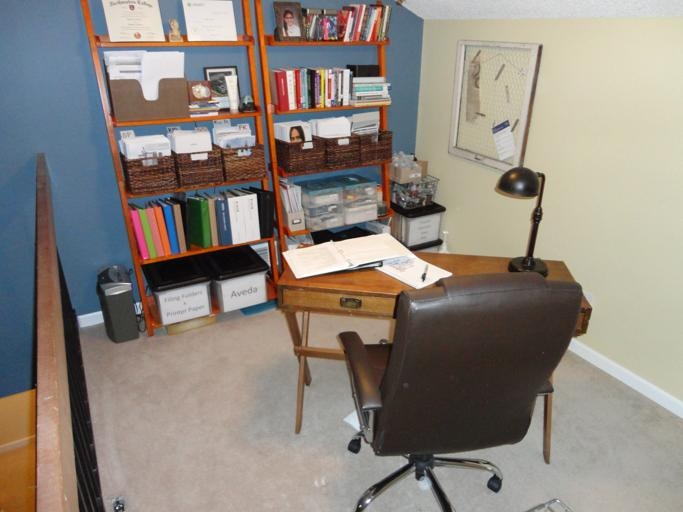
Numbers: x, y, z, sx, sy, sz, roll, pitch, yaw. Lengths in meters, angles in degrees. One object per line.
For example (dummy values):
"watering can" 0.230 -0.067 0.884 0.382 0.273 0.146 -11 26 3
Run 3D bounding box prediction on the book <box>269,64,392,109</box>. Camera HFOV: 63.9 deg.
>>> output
"book" -0.066 -1.337 4.361 0.963 0.300 0.153 -10 26 -20

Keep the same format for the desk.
"desk" 0.517 0.612 3.438 1.707 1.100 0.804 3 18 13

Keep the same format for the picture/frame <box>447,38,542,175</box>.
"picture/frame" 1.203 -1.212 4.428 0.135 0.969 0.800 -16 28 -29

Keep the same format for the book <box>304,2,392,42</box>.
"book" 0.031 -1.825 4.325 0.728 0.268 0.159 -12 26 -24

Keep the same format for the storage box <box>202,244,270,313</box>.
"storage box" -0.866 0.147 4.489 0.436 0.336 0.554 -13 31 -26

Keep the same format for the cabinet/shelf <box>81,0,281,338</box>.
"cabinet/shelf" -1.115 -0.665 4.252 1.199 2.412 0.655 -11 26 -20

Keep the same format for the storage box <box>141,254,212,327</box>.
"storage box" -1.326 0.262 4.385 0.420 0.342 0.571 -12 21 -29

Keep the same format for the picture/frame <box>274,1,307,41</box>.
"picture/frame" -0.394 -1.772 4.158 0.268 0.317 0.174 -6 36 -8

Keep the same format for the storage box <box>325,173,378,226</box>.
"storage box" 0.063 -0.492 4.870 0.406 0.384 0.402 -14 27 -26

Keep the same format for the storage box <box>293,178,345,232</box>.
"storage box" -0.210 -0.448 4.772 0.410 0.385 0.400 -7 26 -11
